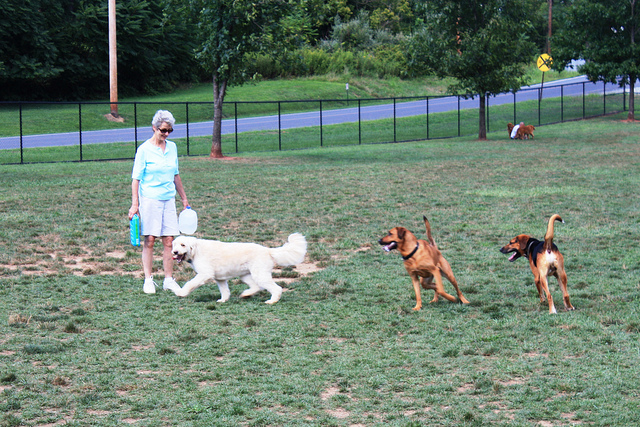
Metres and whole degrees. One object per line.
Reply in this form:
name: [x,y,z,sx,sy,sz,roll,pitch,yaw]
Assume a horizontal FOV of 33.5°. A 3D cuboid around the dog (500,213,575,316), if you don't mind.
dog: [6.834,1.454,32.316,1.924,2.975,0.927,13,19,43]
